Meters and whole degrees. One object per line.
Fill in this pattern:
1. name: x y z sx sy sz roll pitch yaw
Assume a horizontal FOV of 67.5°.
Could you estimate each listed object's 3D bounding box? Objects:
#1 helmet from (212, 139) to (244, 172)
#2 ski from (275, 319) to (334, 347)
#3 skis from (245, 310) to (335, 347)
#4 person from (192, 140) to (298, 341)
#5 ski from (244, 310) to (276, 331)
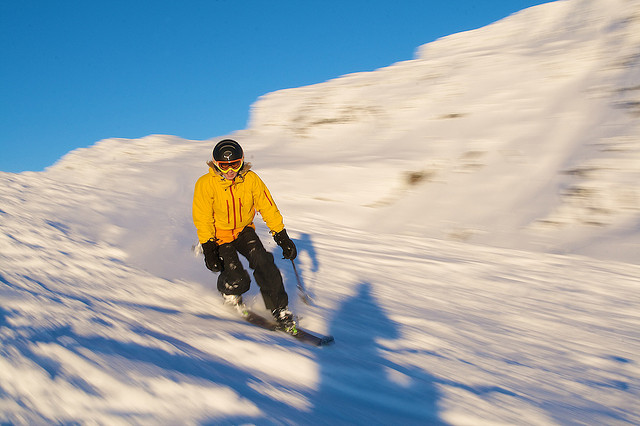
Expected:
1. helmet: -1.317 -0.781 6.840 0.462 0.414 0.562 -12 30 -16
2. ski: -0.250 1.733 6.869 0.944 0.147 0.130 15 49 45
3. skis: -0.472 1.677 6.899 1.237 0.117 0.161 15 51 18
4. person: -1.097 0.289 6.924 1.424 2.604 0.697 4 15 4
5. ski: -0.864 1.582 6.992 0.552 0.102 0.222 8 15 25
